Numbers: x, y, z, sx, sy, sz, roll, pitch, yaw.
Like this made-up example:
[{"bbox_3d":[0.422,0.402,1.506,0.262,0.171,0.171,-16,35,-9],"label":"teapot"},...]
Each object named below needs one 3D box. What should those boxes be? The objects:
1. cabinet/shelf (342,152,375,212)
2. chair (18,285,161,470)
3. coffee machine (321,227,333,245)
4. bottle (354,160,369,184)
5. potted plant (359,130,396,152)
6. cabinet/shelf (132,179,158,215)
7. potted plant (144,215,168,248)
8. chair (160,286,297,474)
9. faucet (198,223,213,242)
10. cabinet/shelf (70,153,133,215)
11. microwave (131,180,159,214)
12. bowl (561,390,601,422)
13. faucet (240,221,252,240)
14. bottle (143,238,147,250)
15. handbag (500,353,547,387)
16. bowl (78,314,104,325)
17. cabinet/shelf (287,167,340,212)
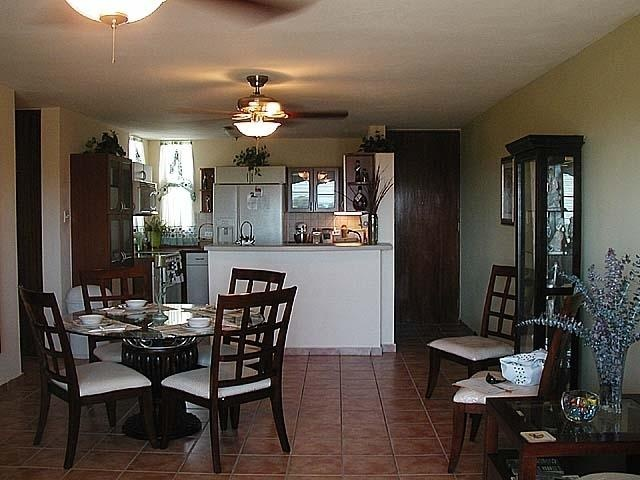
[{"bbox_3d":[0.524,-0.786,7.052,0.415,0.819,0.277,-1,4,-1],"label":"cabinet/shelf"},{"bbox_3d":[-1.691,0.936,3.556,0.953,1.217,0.448,1,5,14],"label":"chair"},{"bbox_3d":[0.103,-0.075,8.213,0.226,0.252,0.258,0,-3,1],"label":"coffee machine"},{"bbox_3d":[0.572,-0.957,7.059,0.219,0.336,0.149,1,5,11],"label":"bottle"},{"bbox_3d":[0.809,-1.363,7.103,0.412,0.297,0.418,0,1,-18],"label":"potted plant"},{"bbox_3d":[-2.680,-0.610,7.368,0.427,0.489,0.745,3,3,-3],"label":"cabinet/shelf"},{"bbox_3d":[-2.797,-0.142,8.450,0.326,0.550,0.380,1,5,7],"label":"potted plant"},{"bbox_3d":[-0.600,0.930,3.682,0.819,1.229,0.846,3,6,31],"label":"chair"},{"bbox_3d":[-1.979,-0.148,8.582,0.235,0.276,0.159,-1,5,-11],"label":"faucet"},{"bbox_3d":[-2.674,-0.707,6.399,0.772,0.712,0.427,-5,8,-21],"label":"cabinet/shelf"},{"bbox_3d":[-2.516,-0.609,7.191,0.360,0.418,0.624,0,0,-3],"label":"microwave"},{"bbox_3d":[1.433,0.920,2.763,0.188,0.138,0.191,0,-6,0],"label":"bowl"},{"bbox_3d":[-1.182,-0.127,7.833,0.242,0.339,0.090,-3,1,5],"label":"faucet"},{"bbox_3d":[-2.906,0.063,8.337,0.038,0.148,0.074,4,7,40],"label":"bottle"},{"bbox_3d":[1.354,0.843,3.335,0.202,0.113,0.266,-5,-6,44],"label":"handbag"},{"bbox_3d":[-1.652,0.577,3.664,0.101,0.039,0.101,1,-3,0],"label":"bowl"},{"bbox_3d":[-0.103,-0.829,8.347,0.855,0.730,0.313,1,4,9],"label":"cabinet/shelf"}]
